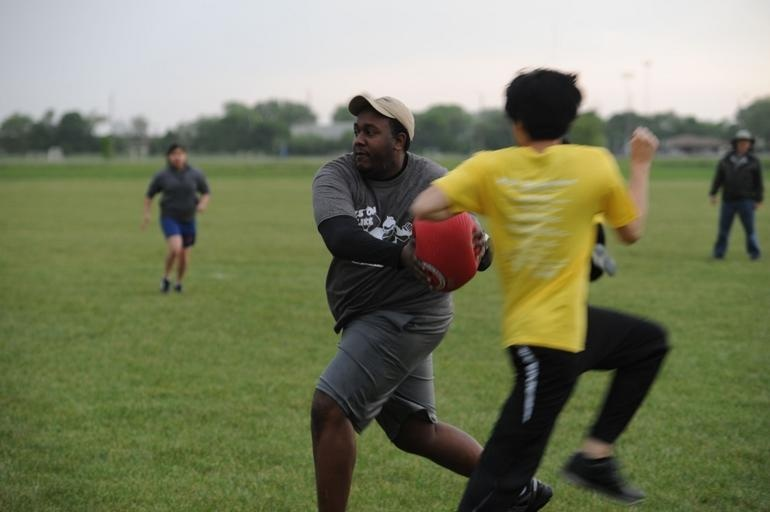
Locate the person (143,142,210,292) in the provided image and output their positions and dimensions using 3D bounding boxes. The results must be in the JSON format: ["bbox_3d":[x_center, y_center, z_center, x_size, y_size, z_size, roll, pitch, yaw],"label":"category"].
[{"bbox_3d":[-1.573,-0.308,7.978,0.515,1.097,0.449,-2,10,-19],"label":"person"}]

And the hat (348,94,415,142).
[{"bbox_3d":[0.031,-0.947,6.757,0.281,0.197,0.403,10,-17,48],"label":"hat"}]

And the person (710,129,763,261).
[{"bbox_3d":[2.516,-0.427,7.321,0.305,0.897,0.118,3,10,16],"label":"person"}]

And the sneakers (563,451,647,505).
[{"bbox_3d":[1.275,1.263,6.221,0.530,0.240,0.214,22,10,-4],"label":"sneakers"}]
